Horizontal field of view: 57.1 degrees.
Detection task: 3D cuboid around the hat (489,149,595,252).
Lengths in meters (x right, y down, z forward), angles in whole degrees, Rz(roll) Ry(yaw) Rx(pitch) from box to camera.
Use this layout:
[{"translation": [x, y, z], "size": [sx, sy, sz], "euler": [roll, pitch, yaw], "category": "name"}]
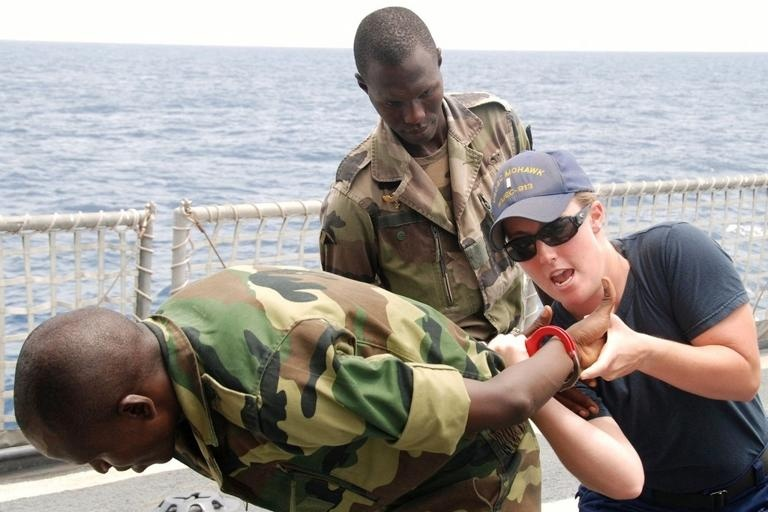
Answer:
[{"translation": [0.741, -0.287, 3.269], "size": [0.350, 0.282, 0.503], "euler": [-21, 6, 45], "category": "hat"}]
